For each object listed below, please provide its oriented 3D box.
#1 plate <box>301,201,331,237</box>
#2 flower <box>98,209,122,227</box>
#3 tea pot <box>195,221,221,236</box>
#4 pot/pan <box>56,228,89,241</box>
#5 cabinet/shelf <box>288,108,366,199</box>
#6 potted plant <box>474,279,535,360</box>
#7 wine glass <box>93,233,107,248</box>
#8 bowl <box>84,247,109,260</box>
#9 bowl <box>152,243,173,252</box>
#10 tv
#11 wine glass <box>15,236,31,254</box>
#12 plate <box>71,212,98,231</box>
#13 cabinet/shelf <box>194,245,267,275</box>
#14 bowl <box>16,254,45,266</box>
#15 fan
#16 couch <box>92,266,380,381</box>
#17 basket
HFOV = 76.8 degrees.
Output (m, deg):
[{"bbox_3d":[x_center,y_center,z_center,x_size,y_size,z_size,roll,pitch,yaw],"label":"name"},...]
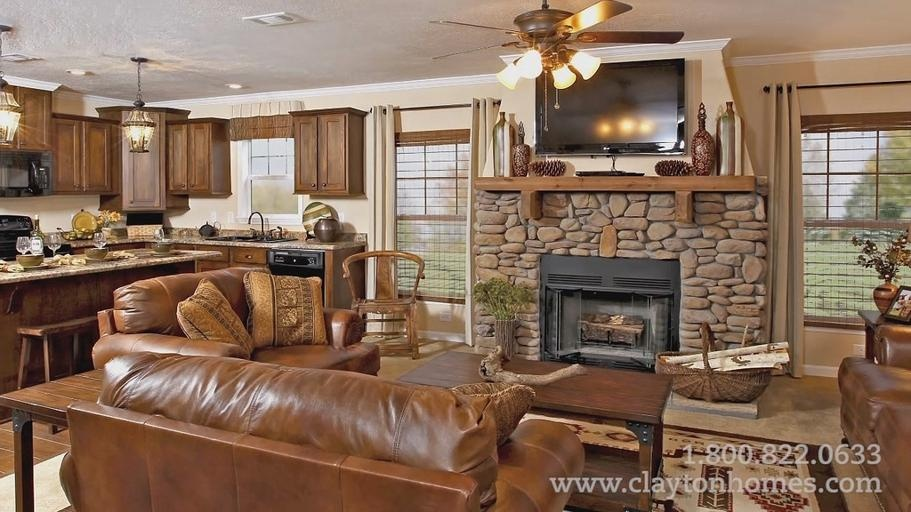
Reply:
[{"bbox_3d":[-1.909,-0.528,7.921,0.414,0.485,0.250,5,8,33],"label":"plate"},{"bbox_3d":[-4.931,-0.536,8.213,0.358,0.200,0.350,0,-2,37],"label":"flower"},{"bbox_3d":[-3.572,-0.388,8.257,0.315,0.158,0.223,1,1,18],"label":"tea pot"},{"bbox_3d":[-5.310,-0.302,7.992,0.263,0.102,0.298,3,6,-7],"label":"pot/pan"},{"bbox_3d":[-1.699,-1.379,7.710,0.937,1.152,0.392,3,8,18],"label":"cabinet/shelf"},{"bbox_3d":[0.511,0.671,6.113,0.609,0.861,0.770,1,6,8],"label":"potted plant"},{"bbox_3d":[-3.578,-0.167,5.772,0.092,0.167,0.295,-4,7,-33],"label":"wine glass"},{"bbox_3d":[-3.503,-0.031,5.629,0.154,0.070,0.145,-2,-3,0],"label":"bowl"},{"bbox_3d":[-3.244,-0.100,6.365,0.170,0.113,0.165,0,6,0],"label":"bowl"},{"bbox_3d":[1.695,-1.570,5.963,1.443,0.669,0.131,1,5,15],"label":"tv"},{"bbox_3d":[-3.995,-0.100,5.324,0.100,0.161,0.203,-4,7,-34],"label":"wine glass"},{"bbox_3d":[-5.230,-0.498,8.111,0.314,0.276,0.300,-3,7,-30],"label":"plate"},{"bbox_3d":[-3.004,0.028,7.745,1.113,0.553,0.529,0,0,16],"label":"cabinet/shelf"},{"bbox_3d":[-3.911,0.045,5.272,0.168,0.064,0.144,0,-3,1],"label":"bowl"},{"bbox_3d":[0.919,-1.677,4.711,1.730,0.638,1.347,0,-1,15],"label":"fan"},{"bbox_3d":[-1.909,0.568,4.804,1.381,0.835,1.862,0,0,34],"label":"couch"},{"bbox_3d":[2.409,1.065,5.376,0.810,0.626,0.542,-2,7,-21],"label":"basket"}]
